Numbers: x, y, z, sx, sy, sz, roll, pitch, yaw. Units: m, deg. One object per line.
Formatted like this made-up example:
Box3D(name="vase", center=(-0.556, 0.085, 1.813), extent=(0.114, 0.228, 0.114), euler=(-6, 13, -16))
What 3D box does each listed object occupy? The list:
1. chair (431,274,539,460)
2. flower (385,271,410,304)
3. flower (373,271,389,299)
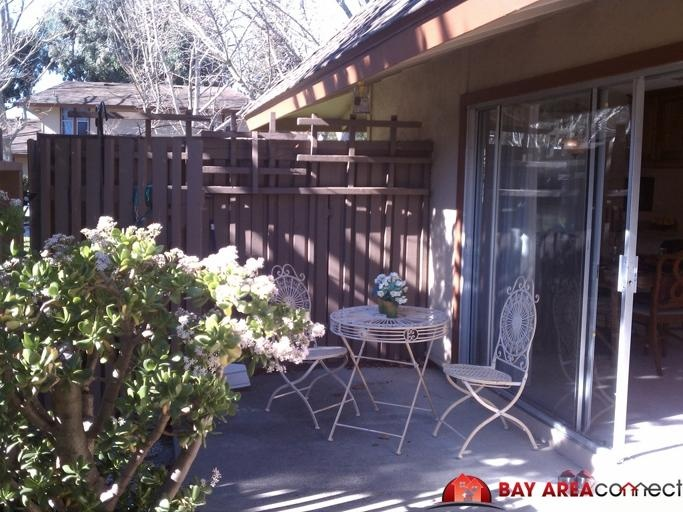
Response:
Box3D(name="chair", center=(1.321, 0.962, 5.562), extent=(0.931, 1.579, 0.881), euler=(1, 2, -38))
Box3D(name="flower", center=(0.510, 0.277, 5.695), extent=(0.125, 0.278, 0.281), euler=(-6, -14, 5))
Box3D(name="flower", center=(0.366, 0.265, 5.748), extent=(0.160, 0.170, 0.180), euler=(6, 12, 2))
